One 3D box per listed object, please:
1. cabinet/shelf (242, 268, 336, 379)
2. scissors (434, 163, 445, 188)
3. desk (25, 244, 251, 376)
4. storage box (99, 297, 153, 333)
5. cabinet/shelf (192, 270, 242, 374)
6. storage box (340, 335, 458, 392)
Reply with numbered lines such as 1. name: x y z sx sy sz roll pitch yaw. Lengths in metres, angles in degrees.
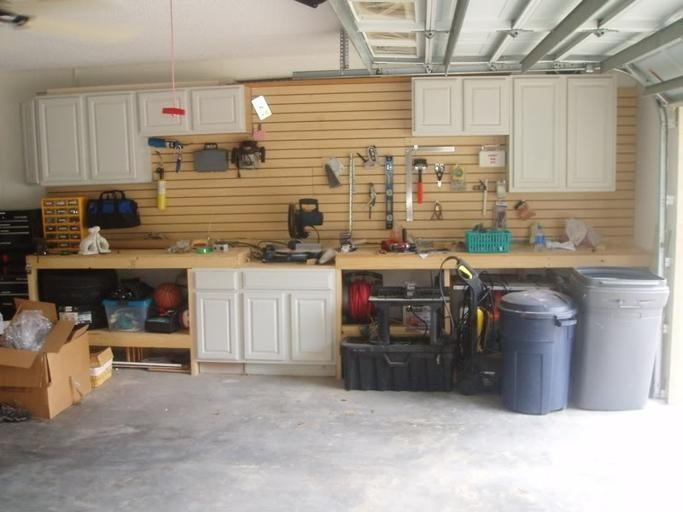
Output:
1. cabinet/shelf: -0.626 0.676 6.505 1.493 1.026 0.682 0 5 -12
2. scissors: 1.140 -0.939 6.675 0.174 0.225 0.066 0 3 2
3. desk: -2.235 0.622 6.427 2.061 0.831 0.614 0 2 2
4. storage box: -2.458 0.681 6.763 0.588 0.359 0.367 2 7 9
5. cabinet/shelf: -1.365 0.622 6.562 0.630 0.962 0.413 1 8 2
6. storage box: 0.572 1.119 5.864 1.368 0.481 0.827 2 4 6
